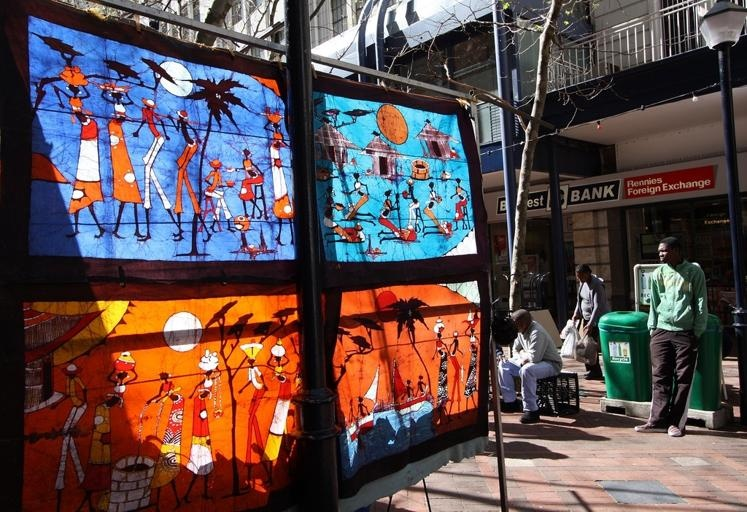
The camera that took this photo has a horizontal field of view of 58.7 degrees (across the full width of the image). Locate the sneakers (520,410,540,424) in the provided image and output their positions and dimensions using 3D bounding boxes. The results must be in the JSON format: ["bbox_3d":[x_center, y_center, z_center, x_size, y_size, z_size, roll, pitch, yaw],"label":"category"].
[{"bbox_3d":[2.036,2.108,8.700,0.282,0.200,0.112,3,-6,-8],"label":"sneakers"}]

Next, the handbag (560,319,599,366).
[{"bbox_3d":[3.306,1.407,10.722,0.533,0.780,0.746,-2,2,18],"label":"handbag"}]

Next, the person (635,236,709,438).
[{"bbox_3d":[3.501,0.939,7.859,0.752,2.306,0.379,-1,3,34],"label":"person"}]

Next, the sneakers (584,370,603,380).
[{"bbox_3d":[3.657,1.983,11.081,0.247,0.107,0.132,6,-4,-5],"label":"sneakers"}]

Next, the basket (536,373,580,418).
[{"bbox_3d":[2.428,1.871,9.161,0.827,0.609,0.490,-10,-13,42],"label":"basket"}]

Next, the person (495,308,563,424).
[{"bbox_3d":[2.007,1.436,9.094,0.747,1.445,0.768,-4,3,-42],"label":"person"}]

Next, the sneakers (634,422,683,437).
[{"bbox_3d":[3.368,2.062,7.896,0.484,0.199,0.170,2,-10,10],"label":"sneakers"}]
